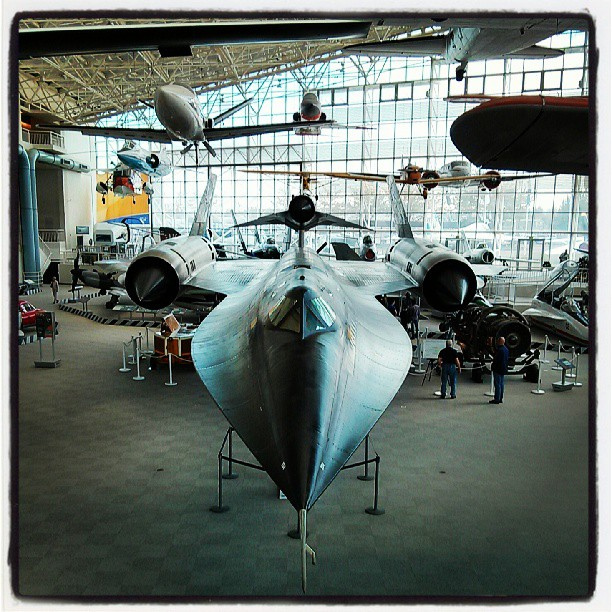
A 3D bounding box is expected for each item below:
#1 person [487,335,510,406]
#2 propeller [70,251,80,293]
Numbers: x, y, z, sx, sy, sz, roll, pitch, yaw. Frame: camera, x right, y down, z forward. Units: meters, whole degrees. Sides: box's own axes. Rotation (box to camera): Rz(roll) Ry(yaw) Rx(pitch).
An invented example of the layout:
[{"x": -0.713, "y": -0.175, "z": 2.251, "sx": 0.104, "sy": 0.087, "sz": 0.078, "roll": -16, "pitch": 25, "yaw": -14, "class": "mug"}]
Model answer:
[{"x": 3.680, "y": 1.145, "z": 10.833, "sx": 0.290, "sy": 1.224, "sz": 1.328, "roll": 4, "pitch": 10, "yaw": 21, "class": "person"}, {"x": -9.450, "y": -1.162, "z": 23.264, "sx": 0.337, "sy": 1.932, "sz": 4.163, "roll": -3, "pitch": 11, "yaw": -21, "class": "propeller"}]
